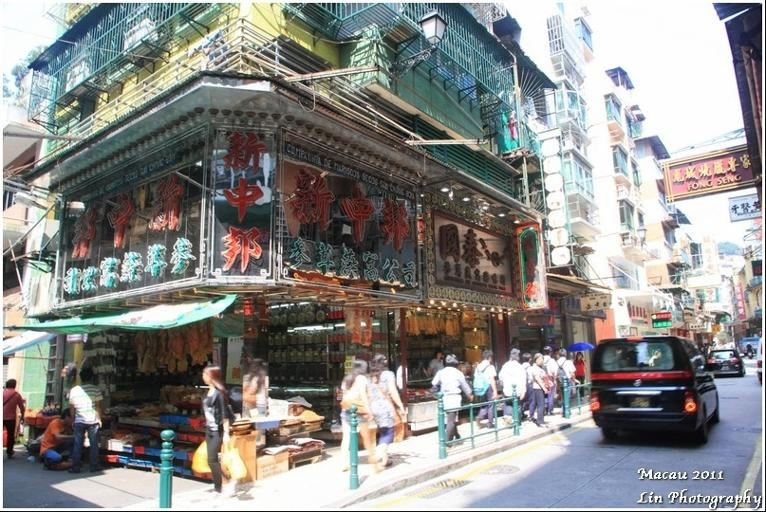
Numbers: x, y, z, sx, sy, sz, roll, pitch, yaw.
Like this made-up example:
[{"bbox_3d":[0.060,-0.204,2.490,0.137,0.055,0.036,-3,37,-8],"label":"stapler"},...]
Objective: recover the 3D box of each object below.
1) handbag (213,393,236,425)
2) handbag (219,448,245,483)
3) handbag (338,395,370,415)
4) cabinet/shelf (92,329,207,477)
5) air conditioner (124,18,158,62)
[{"bbox_3d":[-3.664,3.577,14.192,0.284,0.930,0.913,-2,3,-2],"label":"handbag"},{"bbox_3d":[-3.438,4.679,13.812,0.490,0.768,0.299,-16,-12,-23],"label":"handbag"},{"bbox_3d":[-0.746,3.636,14.658,0.535,0.474,0.774,-5,4,-45],"label":"handbag"},{"bbox_3d":[-6.610,4.139,17.181,3.452,3.148,1.724,-7,-13,36],"label":"cabinet/shelf"},{"bbox_3d":[-7.720,-6.836,19.276,1.486,1.322,0.387,-27,-31,35],"label":"air conditioner"}]
